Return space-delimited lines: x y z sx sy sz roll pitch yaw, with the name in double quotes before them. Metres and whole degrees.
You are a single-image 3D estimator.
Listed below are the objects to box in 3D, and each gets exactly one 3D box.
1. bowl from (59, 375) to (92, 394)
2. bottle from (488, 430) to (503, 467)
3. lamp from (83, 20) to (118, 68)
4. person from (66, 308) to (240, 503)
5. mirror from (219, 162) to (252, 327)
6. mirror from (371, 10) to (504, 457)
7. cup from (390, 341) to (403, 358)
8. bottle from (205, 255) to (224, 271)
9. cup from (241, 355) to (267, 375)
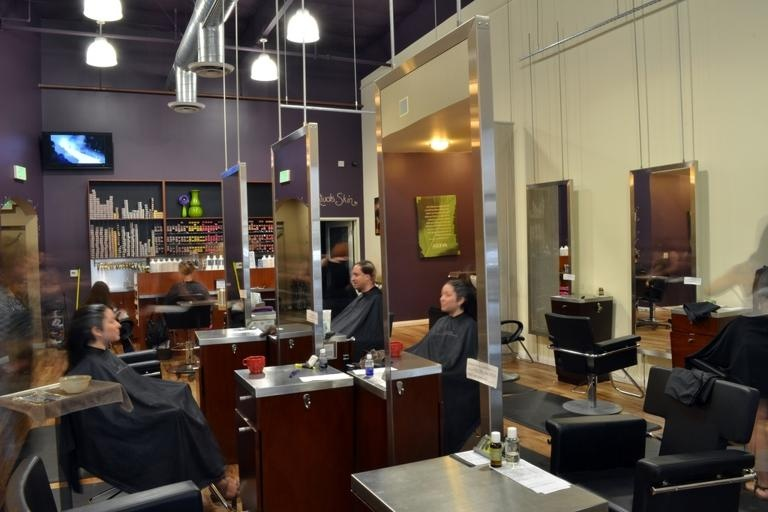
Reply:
"bowl" -2.238 0.918 4.509 0.196 0.135 0.135 -2 1 -30
"bottle" 0.721 1.198 3.916 0.110 0.193 0.056 -2 1 -35
"lamp" -3.697 -2.769 8.175 0.311 0.633 0.526 -2 0 -20
"person" -2.041 1.142 5.600 1.477 1.727 1.126 -4 3 -21
"mirror" -1.663 -0.253 6.987 0.061 1.391 0.733 -5 7 -30
"mirror" 0.387 -0.038 4.369 0.351 2.679 1.031 -2 1 -32
"cup" 0.094 0.693 4.660 0.113 0.094 0.089 3 -4 -36
"bottle" -3.059 0.117 11.226 0.261 0.263 0.266 -1 1 -16
"cup" -1.057 0.853 5.001 0.196 0.141 0.164 -2 0 13
